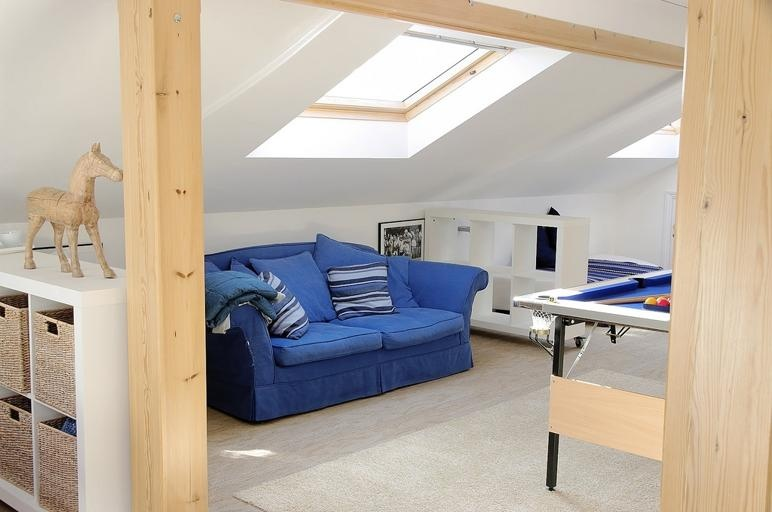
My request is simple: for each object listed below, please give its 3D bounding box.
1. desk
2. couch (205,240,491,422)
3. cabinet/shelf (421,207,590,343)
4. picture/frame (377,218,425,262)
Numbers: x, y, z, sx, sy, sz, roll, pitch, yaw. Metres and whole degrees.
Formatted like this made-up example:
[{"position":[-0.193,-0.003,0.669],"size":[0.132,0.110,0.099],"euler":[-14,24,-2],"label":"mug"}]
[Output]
[{"position":[1.257,0.789,3.465],"size":[0.684,0.607,1.216],"euler":[3,7,37],"label":"desk"},{"position":[-0.408,0.456,4.547],"size":[1.163,1.134,2.511],"euler":[6,7,45],"label":"couch"},{"position":[1.027,0.184,5.046],"size":[0.413,1.036,1.384],"euler":[-8,11,-42],"label":"cabinet/shelf"},{"position":[0.119,-0.169,5.623],"size":[0.495,0.323,0.017],"euler":[-2,3,-45],"label":"picture/frame"}]
